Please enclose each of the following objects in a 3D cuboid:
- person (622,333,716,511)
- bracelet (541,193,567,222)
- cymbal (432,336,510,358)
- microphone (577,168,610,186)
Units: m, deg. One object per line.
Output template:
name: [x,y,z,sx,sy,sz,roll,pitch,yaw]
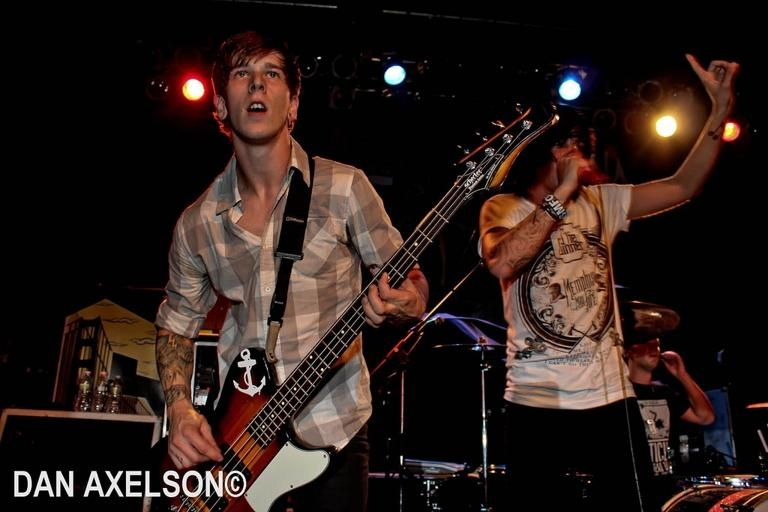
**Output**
person: [2.701,1.524,5.684,1.449,1.434,0.385,-6,-7,-22]
bracelet: [1.169,-0.332,4.089,0.065,0.169,0.140,-49,-14,11]
cymbal: [1.033,1.051,6.927,0.601,0.121,0.610,-8,-18,34]
microphone: [1.579,-0.586,4.475,0.189,0.057,0.192,0,-3,42]
